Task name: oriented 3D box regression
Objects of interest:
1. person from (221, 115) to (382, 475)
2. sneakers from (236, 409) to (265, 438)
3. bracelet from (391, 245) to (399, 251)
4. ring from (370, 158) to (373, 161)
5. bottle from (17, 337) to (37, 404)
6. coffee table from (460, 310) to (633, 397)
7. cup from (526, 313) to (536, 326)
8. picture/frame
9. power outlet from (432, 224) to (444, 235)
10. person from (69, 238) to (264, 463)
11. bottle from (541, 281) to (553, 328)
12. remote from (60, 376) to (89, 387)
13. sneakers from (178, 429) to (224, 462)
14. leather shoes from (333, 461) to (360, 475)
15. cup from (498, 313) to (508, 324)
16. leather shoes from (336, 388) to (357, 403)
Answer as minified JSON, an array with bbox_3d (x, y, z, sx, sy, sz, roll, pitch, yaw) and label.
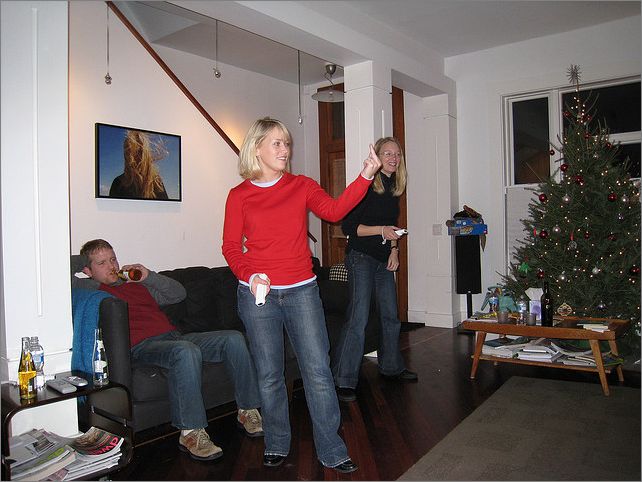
[{"bbox_3d":[-0.134,0.325,2.403,0.754,1.930,0.282,-1,4,13],"label":"person"},{"bbox_3d":[-0.460,1.186,2.934,0.100,0.104,0.229,3,-8,-37],"label":"sneakers"},{"bbox_3d":[0.591,0.059,3.625,0.040,0.035,0.099,6,-4,28],"label":"bracelet"},{"bbox_3d":[0.232,-0.375,2.077,0.011,0.011,0.004,-6,-12,14],"label":"ring"},{"bbox_3d":[-1.366,0.600,2.101,0.075,0.264,0.182,-4,5,-34],"label":"bottle"},{"bbox_3d":[1.890,0.893,3.779,1.127,0.529,0.787,1,5,36],"label":"coffee table"},{"bbox_3d":[1.665,0.626,3.587,0.081,0.098,0.085,-2,4,0],"label":"cup"},{"bbox_3d":[-2.130,-0.911,5.190,0.037,0.777,0.998,-1,-1,38],"label":"picture/frame"},{"bbox_3d":[1.550,-0.152,5.994,0.135,0.143,0.069,-3,-5,36],"label":"power outlet"},{"bbox_3d":[-1.084,0.634,3.047,1.081,1.543,0.718,-15,-9,13],"label":"person"},{"bbox_3d":[1.810,0.509,3.617,0.087,0.330,0.279,0,4,27],"label":"bottle"},{"bbox_3d":[-1.220,0.696,2.246,0.123,0.022,0.056,0,0,42],"label":"remote"},{"bbox_3d":[-0.735,1.218,2.725,0.312,0.149,0.141,1,-7,35],"label":"sneakers"},{"bbox_3d":[0.133,1.230,2.448,0.138,0.066,0.061,-11,-12,24],"label":"leather shoes"},{"bbox_3d":[1.489,0.639,3.719,0.082,0.087,0.082,0,-5,0],"label":"cup"},{"bbox_3d":[0.193,1.172,3.408,0.080,0.086,0.210,1,-17,0],"label":"leather shoes"}]
